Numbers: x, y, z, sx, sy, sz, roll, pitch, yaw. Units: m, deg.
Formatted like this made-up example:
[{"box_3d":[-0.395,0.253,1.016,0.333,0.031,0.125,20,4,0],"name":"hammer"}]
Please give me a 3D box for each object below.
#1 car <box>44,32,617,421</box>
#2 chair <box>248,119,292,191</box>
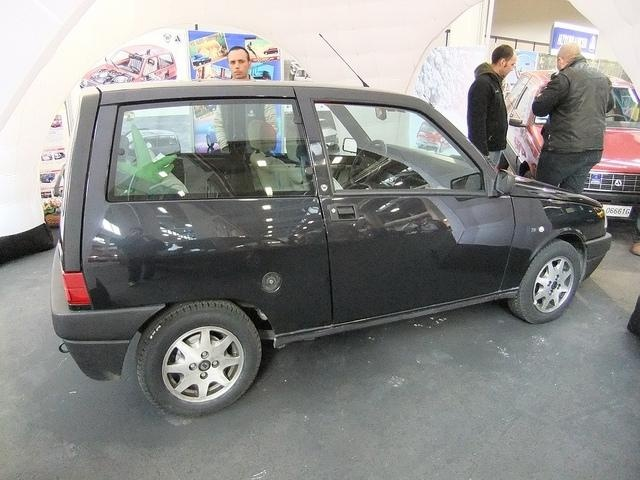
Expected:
[{"box_3d":[0.115,-0.294,3.204,3.692,1.640,1.791,-9,17,-16],"name":"car"},{"box_3d":[-0.300,-0.533,2.457,0.305,0.484,0.343,-17,28,-38],"name":"chair"}]
